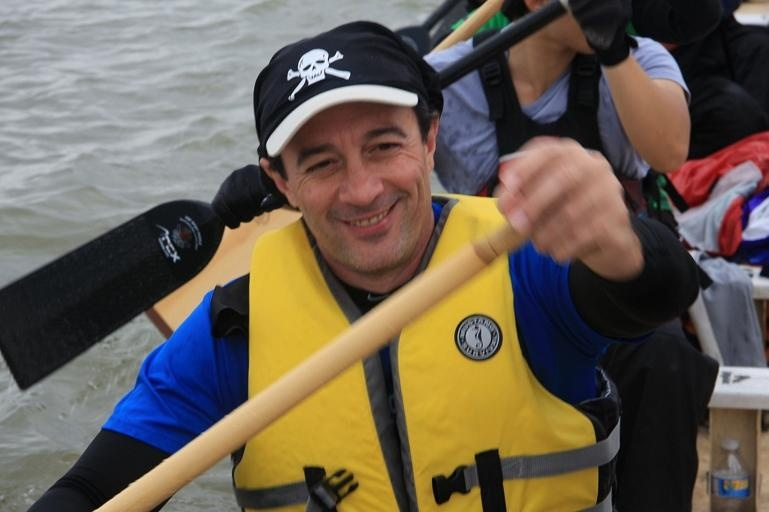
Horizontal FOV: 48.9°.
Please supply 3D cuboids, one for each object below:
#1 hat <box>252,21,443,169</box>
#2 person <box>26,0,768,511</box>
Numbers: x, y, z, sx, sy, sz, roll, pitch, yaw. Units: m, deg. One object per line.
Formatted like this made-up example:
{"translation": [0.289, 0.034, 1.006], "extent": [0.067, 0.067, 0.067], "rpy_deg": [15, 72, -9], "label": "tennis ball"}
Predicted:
{"translation": [-0.184, -0.614, 3.052], "extent": [0.609, 0.409, 0.820], "rpy_deg": [-20, 0, 11], "label": "hat"}
{"translation": [0.075, 0.046, 3.346], "extent": [1.293, 0.593, 2.151], "rpy_deg": [3, 41, 19], "label": "person"}
